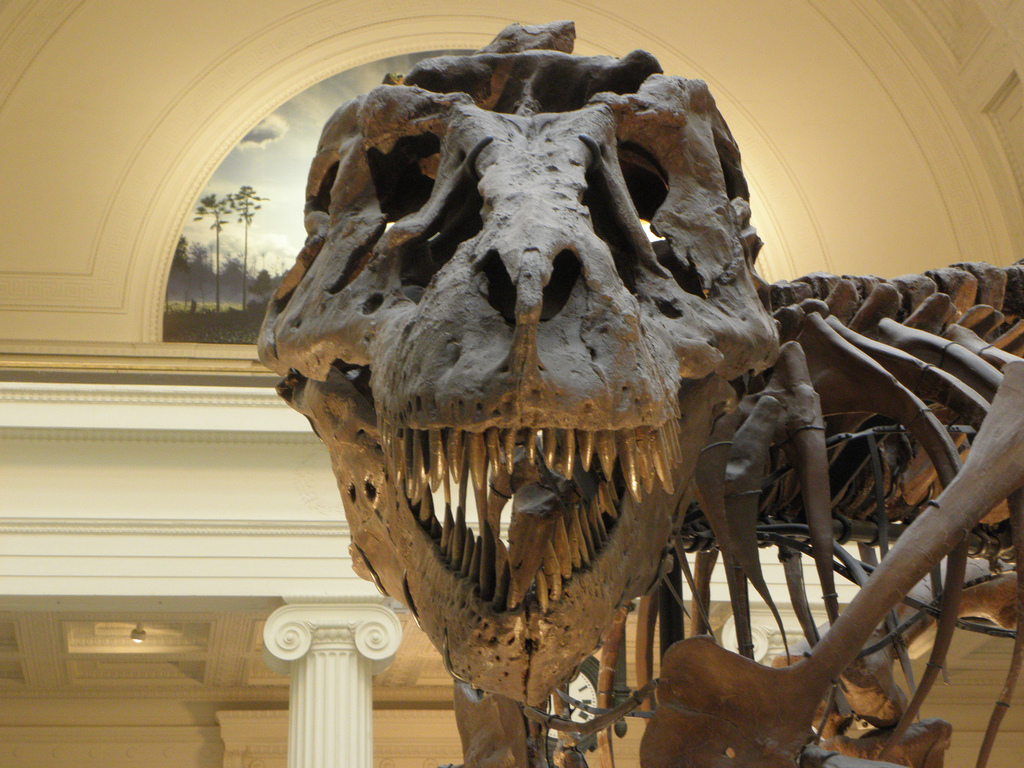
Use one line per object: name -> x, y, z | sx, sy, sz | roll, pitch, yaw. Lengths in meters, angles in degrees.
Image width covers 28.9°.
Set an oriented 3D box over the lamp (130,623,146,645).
lamp -> -3.543, 2.369, 18.551 | 0.155, 0.223, 0.156 | -1, 6, 3
